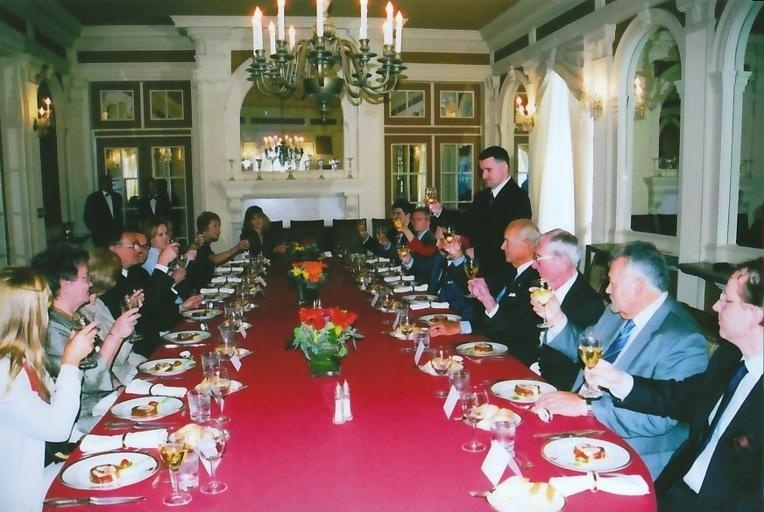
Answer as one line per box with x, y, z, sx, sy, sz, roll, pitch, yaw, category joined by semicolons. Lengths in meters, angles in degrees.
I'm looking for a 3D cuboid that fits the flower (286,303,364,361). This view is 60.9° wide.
-0.319;0.368;3.617;0.312;0.271;0.321;8;8;27;flower

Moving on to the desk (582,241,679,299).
1.627;0.096;4.214;0.519;0.491;0.199;0;21;3;desk

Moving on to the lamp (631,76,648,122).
2.775;-1.704;6.986;0.177;0.463;0.061;-5;10;-18;lamp

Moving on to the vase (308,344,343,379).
-0.316;0.584;3.628;0.174;0.168;0.174;0;-4;5;vase

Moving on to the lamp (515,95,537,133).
1.980;-2.003;9.086;0.264;0.539;1.011;0;9;11;lamp

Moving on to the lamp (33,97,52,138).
-4.555;-1.882;8.697;0.204;0.559;0.756;-6;10;-21;lamp

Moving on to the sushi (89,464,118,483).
-1.208;0.941;2.814;0.115;0.054;0.071;0;9;11;sushi

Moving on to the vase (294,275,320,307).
-0.567;0.260;4.967;0.225;0.247;0.225;0;3;-5;vase

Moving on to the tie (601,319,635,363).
1.248;0.457;3.440;0.056;0.236;0.135;20;13;-5;tie

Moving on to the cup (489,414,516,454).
0.533;0.768;2.837;0.143;0.152;0.133;0;7;0;cup

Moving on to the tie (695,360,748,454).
1.578;0.695;3.074;0.082;0.567;0.062;17;13;0;tie

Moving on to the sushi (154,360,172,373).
-1.250;0.624;3.721;0.059;0.027;0.078;1;10;-6;sushi
